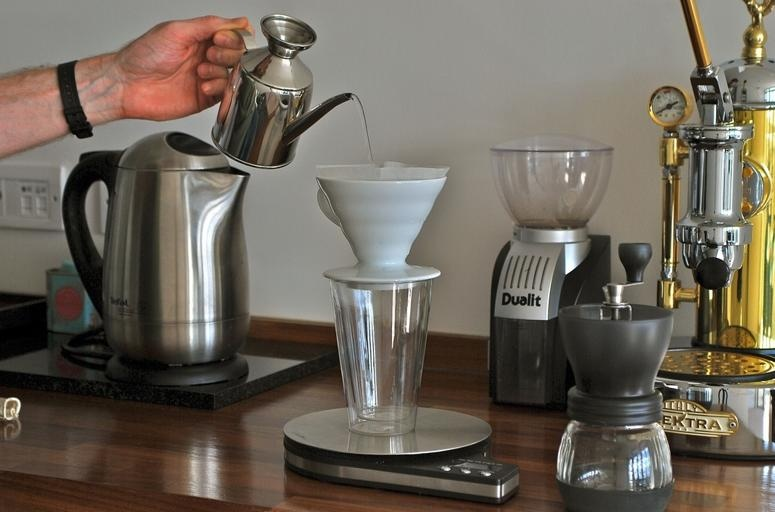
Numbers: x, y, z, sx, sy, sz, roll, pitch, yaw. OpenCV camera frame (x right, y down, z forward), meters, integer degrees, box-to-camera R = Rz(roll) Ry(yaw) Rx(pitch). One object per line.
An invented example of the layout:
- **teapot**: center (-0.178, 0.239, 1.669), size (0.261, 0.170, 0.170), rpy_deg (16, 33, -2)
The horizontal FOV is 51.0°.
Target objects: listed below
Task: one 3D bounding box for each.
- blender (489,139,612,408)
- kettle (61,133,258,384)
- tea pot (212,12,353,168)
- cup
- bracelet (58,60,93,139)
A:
- **blender**: center (0.235, 0.019, 1.202), size (0.179, 0.375, 0.175), rpy_deg (2, 15, 14)
- **kettle**: center (-0.383, 0.000, 1.270), size (0.321, 0.373, 0.159), rpy_deg (4, 15, 18)
- **tea pot**: center (-0.156, -0.204, 1.082), size (0.147, 0.205, 0.171), rpy_deg (-1, 12, -20)
- **cup**: center (-0.036, 0.045, 1.069), size (0.200, 0.331, 0.127), rpy_deg (12, 19, 42)
- **bracelet**: center (-0.513, -0.259, 1.333), size (0.065, 0.101, 0.098), rpy_deg (-15, 12, -1)
